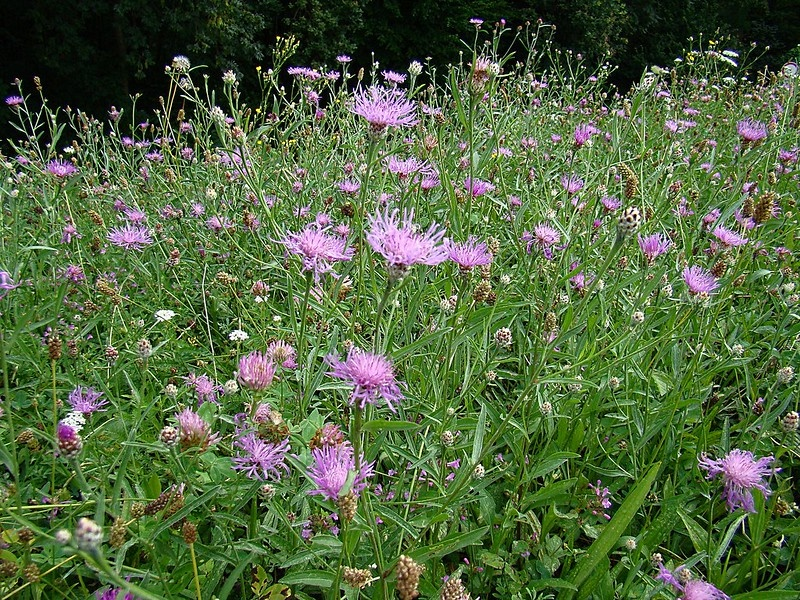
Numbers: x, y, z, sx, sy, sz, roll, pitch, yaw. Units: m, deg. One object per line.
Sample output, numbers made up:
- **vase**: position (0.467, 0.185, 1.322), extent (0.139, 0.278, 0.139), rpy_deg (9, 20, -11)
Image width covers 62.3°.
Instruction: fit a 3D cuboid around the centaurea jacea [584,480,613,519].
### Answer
- **centaurea jacea**: position (0.682, 0.702, 2.302), extent (0.106, 0.063, 0.103), rpy_deg (0, 28, -13)
